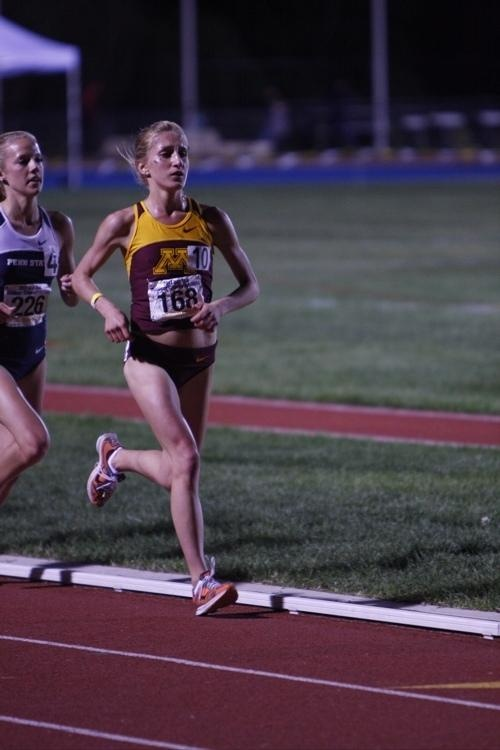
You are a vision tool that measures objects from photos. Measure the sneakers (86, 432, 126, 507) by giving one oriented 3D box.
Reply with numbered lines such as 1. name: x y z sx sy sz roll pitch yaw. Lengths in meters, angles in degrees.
1. sneakers: -0.602 0.411 4.239 0.169 0.334 0.134 21 33 19

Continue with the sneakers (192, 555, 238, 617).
1. sneakers: -0.128 0.755 3.459 0.121 0.176 0.224 -4 9 -14

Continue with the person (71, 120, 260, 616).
1. person: -0.315 -0.029 3.643 0.653 1.740 0.851 -2 9 -1
